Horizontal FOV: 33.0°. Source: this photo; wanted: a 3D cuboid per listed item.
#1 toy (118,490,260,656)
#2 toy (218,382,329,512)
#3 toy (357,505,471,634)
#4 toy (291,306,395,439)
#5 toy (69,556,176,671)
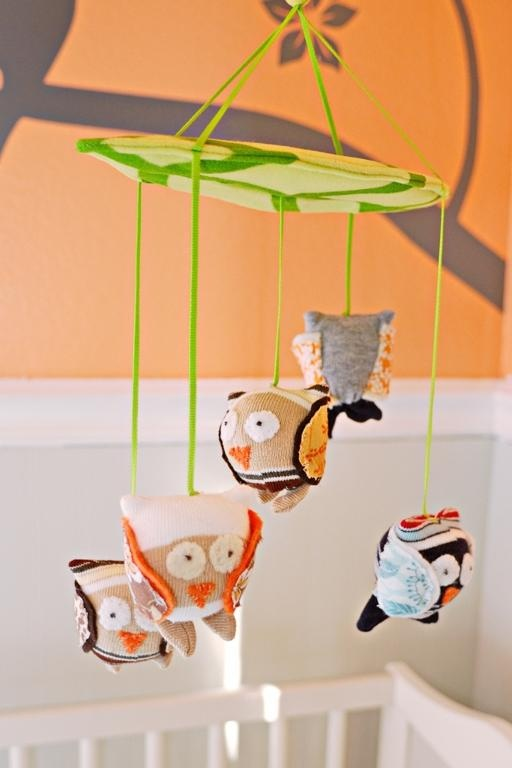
[{"bbox_3d":[-0.087,0.220,1.020,0.183,0.170,0.111,1,2,-40],"label":"toy"},{"bbox_3d":[0.024,0.088,1.163,0.160,0.148,0.149,-1,-6,19],"label":"toy"},{"bbox_3d":[0.222,0.263,1.213,0.179,0.166,0.138,-3,7,24],"label":"toy"},{"bbox_3d":[0.123,-0.026,1.274,0.167,0.162,0.100,-4,9,-18],"label":"toy"},{"bbox_3d":[-0.182,0.296,1.158,0.136,0.134,0.060,-15,-4,0],"label":"toy"}]
